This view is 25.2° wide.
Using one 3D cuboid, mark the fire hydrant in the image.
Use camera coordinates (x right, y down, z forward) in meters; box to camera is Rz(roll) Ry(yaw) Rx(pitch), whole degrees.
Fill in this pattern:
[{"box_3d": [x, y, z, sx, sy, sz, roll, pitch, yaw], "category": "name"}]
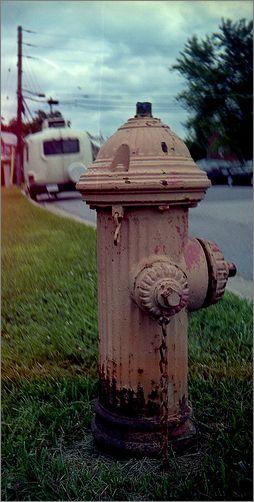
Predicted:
[{"box_3d": [0.081, 0.102, 2.175, 0.496, 1.343, 0.491, 3, 8, 35], "category": "fire hydrant"}]
